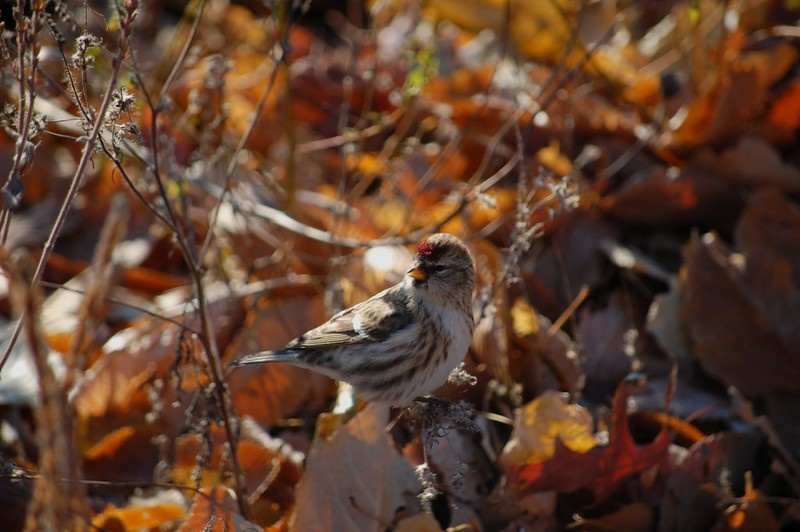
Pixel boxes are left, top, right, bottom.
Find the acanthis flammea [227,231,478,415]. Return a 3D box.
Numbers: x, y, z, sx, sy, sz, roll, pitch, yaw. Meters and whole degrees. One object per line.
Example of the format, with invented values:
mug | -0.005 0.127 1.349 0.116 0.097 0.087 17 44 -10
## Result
acanthis flammea | -0.135 0.220 3.460 0.919 0.628 0.514 -10 -2 3
